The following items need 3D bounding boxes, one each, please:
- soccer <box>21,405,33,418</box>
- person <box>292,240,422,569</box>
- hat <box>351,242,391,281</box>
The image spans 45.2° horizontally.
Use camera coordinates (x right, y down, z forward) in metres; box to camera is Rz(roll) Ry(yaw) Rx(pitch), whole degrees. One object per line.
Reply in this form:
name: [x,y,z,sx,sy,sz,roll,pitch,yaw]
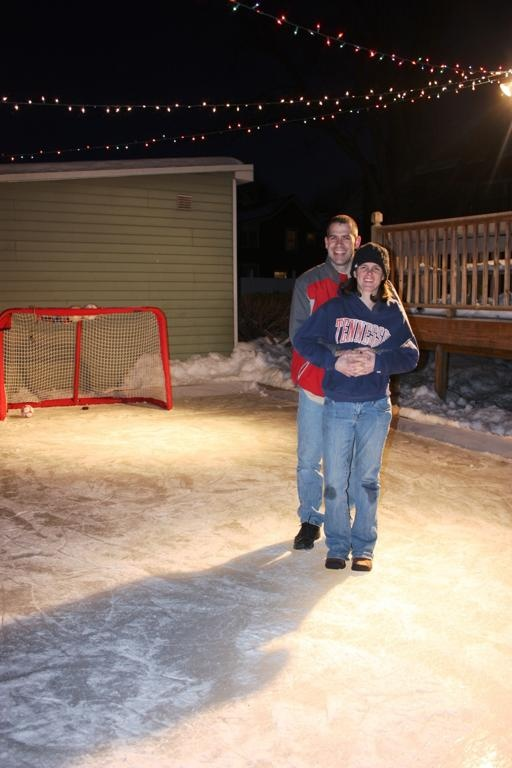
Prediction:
soccer: [-3.233,0.381,8.759,0.181,0.190,0.180,10,7,25]
person: [0.550,0.142,3.433,0.685,1.832,0.332,1,6,2]
hat: [0.631,-0.682,3.421,0.201,0.175,0.213,3,9,4]
